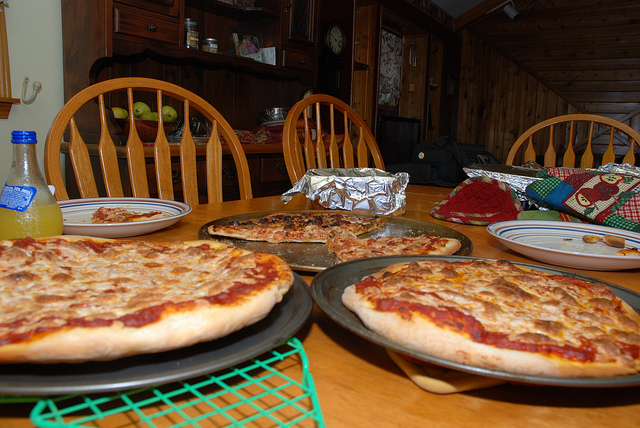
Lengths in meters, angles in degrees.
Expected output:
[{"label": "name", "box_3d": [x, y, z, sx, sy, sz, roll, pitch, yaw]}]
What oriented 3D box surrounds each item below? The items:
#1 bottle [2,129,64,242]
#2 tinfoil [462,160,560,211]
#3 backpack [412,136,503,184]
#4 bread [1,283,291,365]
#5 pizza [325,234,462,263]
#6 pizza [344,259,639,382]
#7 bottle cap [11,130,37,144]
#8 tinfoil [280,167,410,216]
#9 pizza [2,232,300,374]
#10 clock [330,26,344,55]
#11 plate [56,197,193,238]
[{"label": "bottle", "box_3d": [-0.527, -0.053, 0.790, 0.179, 0.196, 0.092, 8, 12, 42]}, {"label": "tinfoil", "box_3d": [0.661, -0.132, 1.487, 0.249, 0.089, 0.188, 17, 19, 41]}, {"label": "backpack", "box_3d": [0.870, -0.490, 3.328, 0.715, 0.280, 0.707, -5, 16, -33]}, {"label": "bread", "box_3d": [-0.195, 0.106, 0.488, 0.262, 0.061, 0.194, -4, 3, -32]}, {"label": "pizza", "box_3d": [0.154, 0.070, 0.889, 0.241, 0.031, 0.179, -3, 8, 13]}, {"label": "pizza", "box_3d": [0.230, 0.132, 0.542, 0.185, 0.021, 0.186, 6, 12, 28]}, {"label": "bottle cap", "box_3d": [-0.535, -0.140, 0.781, 0.030, 0.018, 0.030, 6, 6, 40]}, {"label": "tinfoil", "box_3d": [0.070, -0.078, 1.377, 0.411, 0.131, 0.288, 3, 9, 19]}, {"label": "pizza", "box_3d": [-0.231, 0.111, 0.539, 0.268, 0.030, 0.223, 2, 14, 0]}, {"label": "clock", "box_3d": [0.181, -1.718, 4.234, 0.084, 0.277, 0.241, 4, 9, 22]}, {"label": "plate", "box_3d": [-0.473, 0.022, 1.057, 0.318, 0.102, 0.321, -1, -5, 8]}]
